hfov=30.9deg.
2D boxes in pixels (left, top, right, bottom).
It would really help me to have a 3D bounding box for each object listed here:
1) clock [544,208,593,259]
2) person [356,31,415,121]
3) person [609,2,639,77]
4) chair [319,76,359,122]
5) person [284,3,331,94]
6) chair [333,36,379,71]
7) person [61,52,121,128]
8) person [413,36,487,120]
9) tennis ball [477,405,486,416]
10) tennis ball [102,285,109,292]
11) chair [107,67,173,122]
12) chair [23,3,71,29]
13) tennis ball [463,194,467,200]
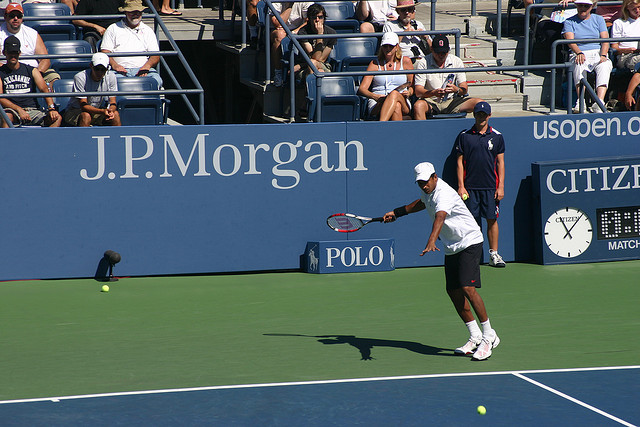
[{"bbox_3d":[4.256,0.315,19.940,0.724,0.821,0.053,-3,2,-1],"label":"clock"},{"bbox_3d":[1.288,-2.402,20.410,1.007,1.529,0.992,-3,8,-19],"label":"person"},{"bbox_3d":[5.944,-3.377,22.489,0.546,1.390,1.311,1,8,12],"label":"person"},{"bbox_3d":[0.352,-2.024,20.641,0.787,0.972,0.768,1,-1,-4],"label":"chair"},{"bbox_3d":[-0.216,-3.074,21.573,0.837,1.620,2.413,-1,8,0],"label":"person"},{"bbox_3d":[0.690,-3.067,22.265,0.650,0.685,0.575,0,3,-8],"label":"chair"},{"bbox_3d":[-3.912,-2.092,19.707,0.968,1.211,1.333,-2,8,-13],"label":"person"},{"bbox_3d":[2.272,-2.278,20.574,1.105,1.677,1.069,-1,12,6],"label":"person"},{"bbox_3d":[2.183,2.627,15.593,0.109,0.108,0.112,-1,8,0],"label":"tennis ball"},{"bbox_3d":[-3.524,1.215,18.999,0.103,0.076,0.185,-2,8,-11],"label":"tennis ball"},{"bbox_3d":[-3.142,-1.872,20.366,0.971,1.197,1.299,-4,8,-18],"label":"chair"},{"bbox_3d":[-5.342,-4.018,22.564,0.736,0.706,0.749,-1,-4,-11],"label":"chair"},{"bbox_3d":[2.457,-0.285,19.539,0.054,0.099,0.125,1,8,14],"label":"tennis ball"}]
